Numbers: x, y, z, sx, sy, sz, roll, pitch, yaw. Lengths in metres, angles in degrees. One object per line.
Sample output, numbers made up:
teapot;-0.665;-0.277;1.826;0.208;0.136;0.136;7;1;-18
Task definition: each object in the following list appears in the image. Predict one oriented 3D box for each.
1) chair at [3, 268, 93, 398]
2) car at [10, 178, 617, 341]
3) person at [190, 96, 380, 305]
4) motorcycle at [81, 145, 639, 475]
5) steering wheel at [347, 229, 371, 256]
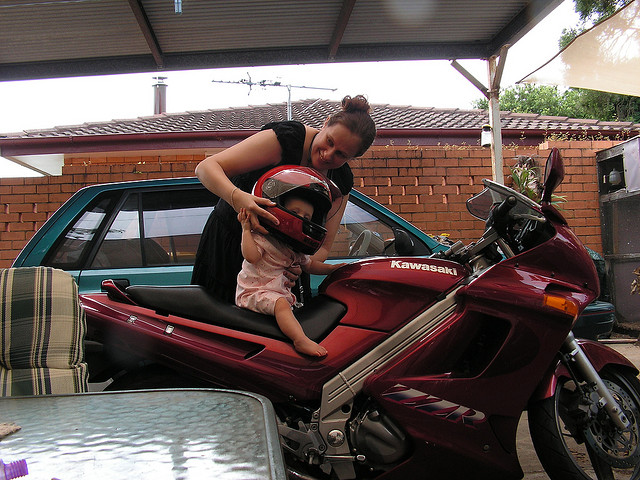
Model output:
chair;-0.959;0.315;1.550;0.253;0.418;0.227;-2;9;-25
car;-0.241;-0.089;3.223;3.844;0.868;1.679;-2;-1;-2
person;-0.175;-0.075;2.287;1.043;1.183;0.904;-2;-11;-1
motorcycle;0.331;0.325;2.006;2.455;1.494;0.477;1;8;0
steering wheel;0.296;0.021;3.217;0.053;0.178;0.145;31;2;-34
